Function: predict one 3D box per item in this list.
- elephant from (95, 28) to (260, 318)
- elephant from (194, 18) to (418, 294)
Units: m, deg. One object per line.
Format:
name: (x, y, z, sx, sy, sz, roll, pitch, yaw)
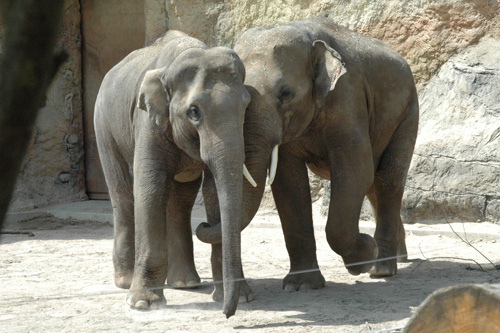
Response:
elephant: (-0.529, 0.038, 6.337, 0.984, 2.069, 2.508, -2, 2, -22)
elephant: (0.591, -0.098, 6.852, 1.207, 2.198, 2.659, -3, -1, 37)
